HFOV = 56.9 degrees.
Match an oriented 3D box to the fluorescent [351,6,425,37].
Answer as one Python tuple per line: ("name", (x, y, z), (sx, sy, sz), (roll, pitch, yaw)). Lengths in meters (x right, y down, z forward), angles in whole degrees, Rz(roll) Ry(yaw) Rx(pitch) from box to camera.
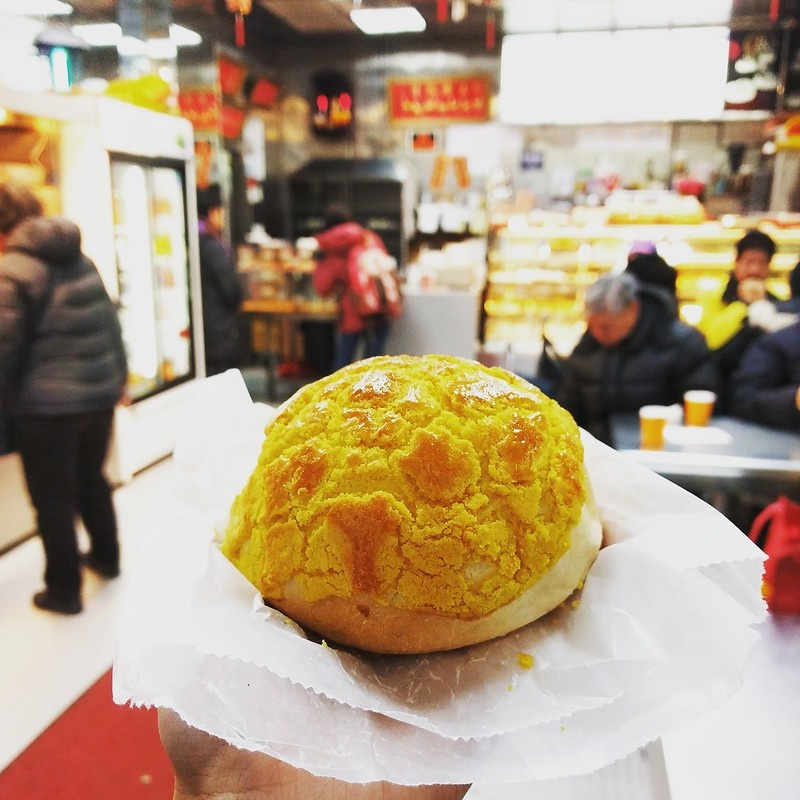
("fluorescent", (-0.052, -1.749, 3.406), (0.341, 0.042, 0.208), (-2, -8, 3))

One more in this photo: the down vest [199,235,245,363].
("down vest", (-1.211, -0.698, 5.020), (0.232, 1.028, 0.266), (-2, 48, -11))

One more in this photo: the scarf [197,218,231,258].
("scarf", (-1.239, -1.082, 4.902), (0.088, 0.230, 0.265), (-8, -26, 12))

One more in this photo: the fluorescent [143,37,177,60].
("fluorescent", (-1.340, -1.986, 4.169), (0.036, 0.158, 0.157), (6, 13, 41))

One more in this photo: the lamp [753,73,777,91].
("lamp", (1.666, -1.457, 3.381), (0.074, 0.064, 0.020), (21, -19, -13))

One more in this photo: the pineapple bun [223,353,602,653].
("pineapple bun", (0.010, 0.101, 0.708), (0.292, 0.172, 0.285), (-13, 26, -31))

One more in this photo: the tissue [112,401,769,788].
("tissue", (0.041, 0.227, 0.647), (0.373, 0.104, 0.422), (3, 30, 2))
